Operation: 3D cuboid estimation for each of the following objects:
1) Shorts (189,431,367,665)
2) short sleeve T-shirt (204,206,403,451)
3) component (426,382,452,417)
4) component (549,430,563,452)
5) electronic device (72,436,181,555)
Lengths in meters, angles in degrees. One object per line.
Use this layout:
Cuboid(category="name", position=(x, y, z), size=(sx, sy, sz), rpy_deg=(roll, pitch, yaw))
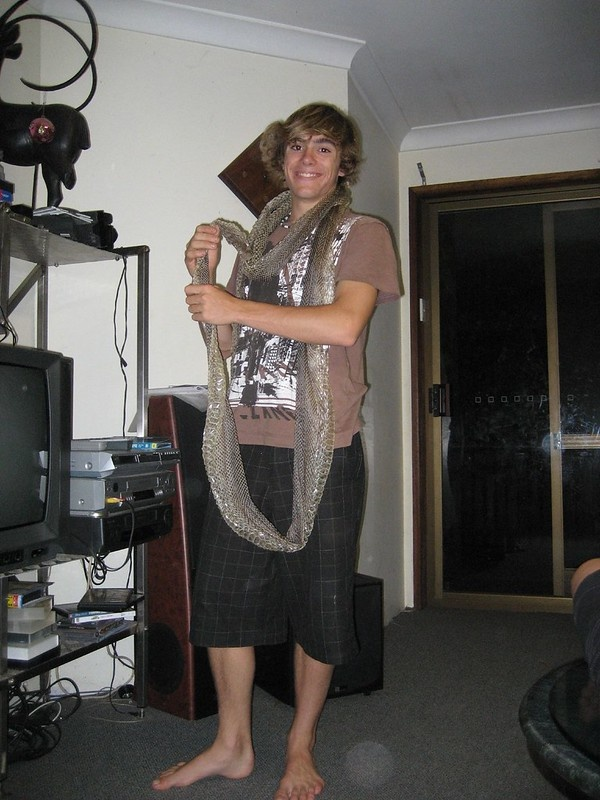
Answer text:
Cuboid(category="Shorts", position=(-0.029, 0.288, 1.604), size=(0.359, 0.503, 0.338), rpy_deg=(4, 3, 7))
Cuboid(category="short sleeve T-shirt", position=(-0.008, -0.168, 1.564), size=(0.493, 0.600, 0.227), rpy_deg=(-1, -4, 27))
Cuboid(category="component", position=(0.665, 0.001, 3.215), size=(0.149, 0.196, 0.135), rpy_deg=(1, 3, 0))
Cuboid(category="component", position=(1.185, 0.194, 3.110), size=(0.054, 0.086, 0.014), rpy_deg=(0, -3, 21))
Cuboid(category="electronic device", position=(-0.460, 0.231, 1.743), size=(0.172, 0.267, 0.306), rpy_deg=(1, -1, 21))
